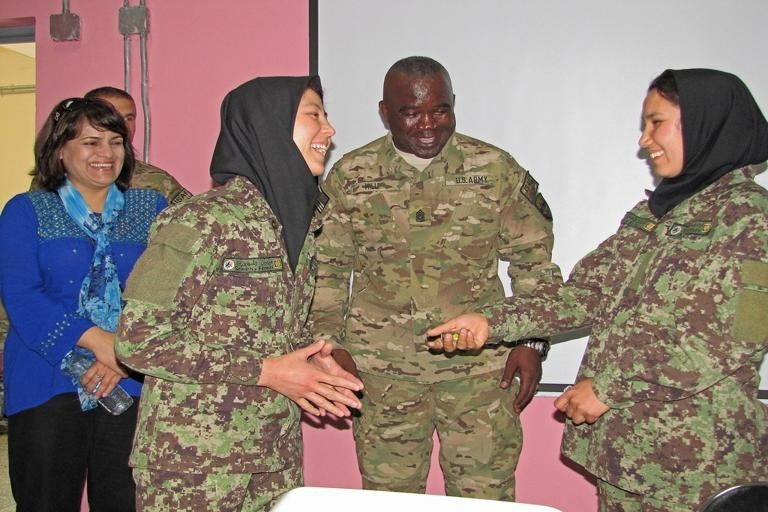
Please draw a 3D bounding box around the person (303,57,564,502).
[{"bbox_3d":[0.254,0.434,4.009,1.259,2.641,0.736,-2,17,6],"label":"person"}]

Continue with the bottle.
[{"bbox_3d":[-1.278,0.557,3.684,0.324,0.210,0.107,40,-8,-17],"label":"bottle"}]

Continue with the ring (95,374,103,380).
[{"bbox_3d":[-1.240,0.516,3.610,0.024,0.020,0.005,-5,21,-13],"label":"ring"}]
